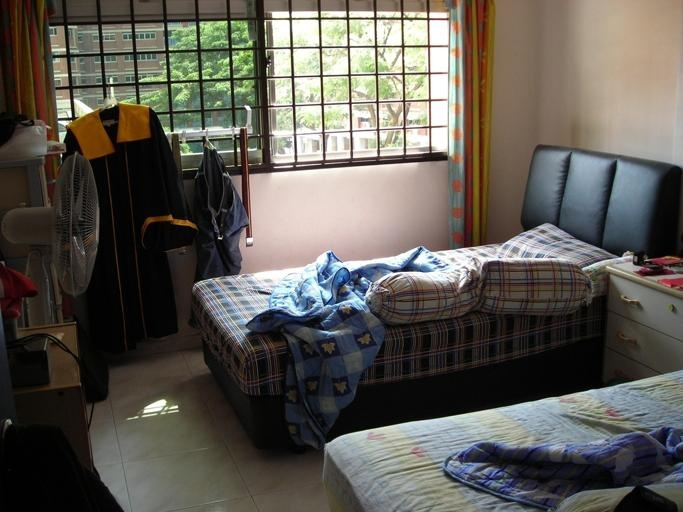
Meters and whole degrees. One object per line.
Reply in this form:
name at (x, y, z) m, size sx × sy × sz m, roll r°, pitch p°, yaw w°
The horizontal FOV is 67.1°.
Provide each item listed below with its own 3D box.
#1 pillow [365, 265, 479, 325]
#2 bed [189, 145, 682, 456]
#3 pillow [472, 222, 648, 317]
pillow at (0.462, 0.188, 2.912) m, size 0.611 × 0.259 × 0.281 m, roll -6°, pitch 9°, yaw -18°
bed at (0.594, 0.168, 3.448) m, size 2.905 × 1.532 × 1.673 m, roll -7°, pitch 21°, yaw -22°
pillow at (1.233, 0.112, 3.004) m, size 0.646 × 0.196 × 0.645 m, roll -25°, pitch 24°, yaw -14°
